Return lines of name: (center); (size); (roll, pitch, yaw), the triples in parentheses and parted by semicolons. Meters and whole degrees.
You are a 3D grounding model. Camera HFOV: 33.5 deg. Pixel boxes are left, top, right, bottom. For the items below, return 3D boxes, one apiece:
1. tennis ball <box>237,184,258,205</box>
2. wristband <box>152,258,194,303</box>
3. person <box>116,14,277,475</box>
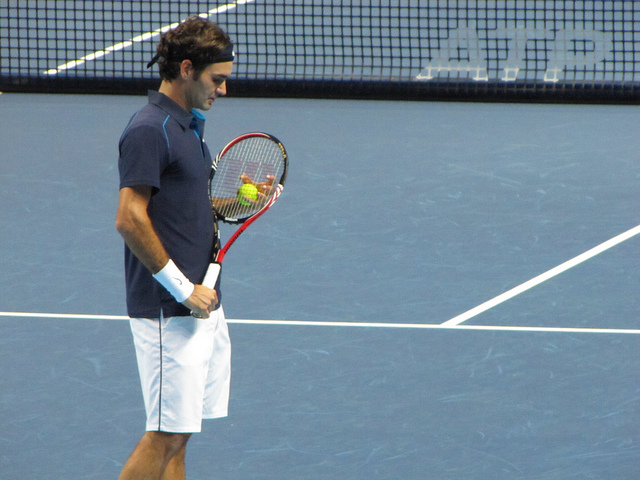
tennis ball: (-0.504, -0.311, 7.282); (0.135, 0.141, 0.134); (5, 12, -1)
wristband: (-0.954, 0.264, 6.737); (0.159, 0.247, 0.157); (-43, 4, 31)
person: (-0.924, 0.037, 6.822); (0.806, 2.928, 0.343); (3, 5, -11)
